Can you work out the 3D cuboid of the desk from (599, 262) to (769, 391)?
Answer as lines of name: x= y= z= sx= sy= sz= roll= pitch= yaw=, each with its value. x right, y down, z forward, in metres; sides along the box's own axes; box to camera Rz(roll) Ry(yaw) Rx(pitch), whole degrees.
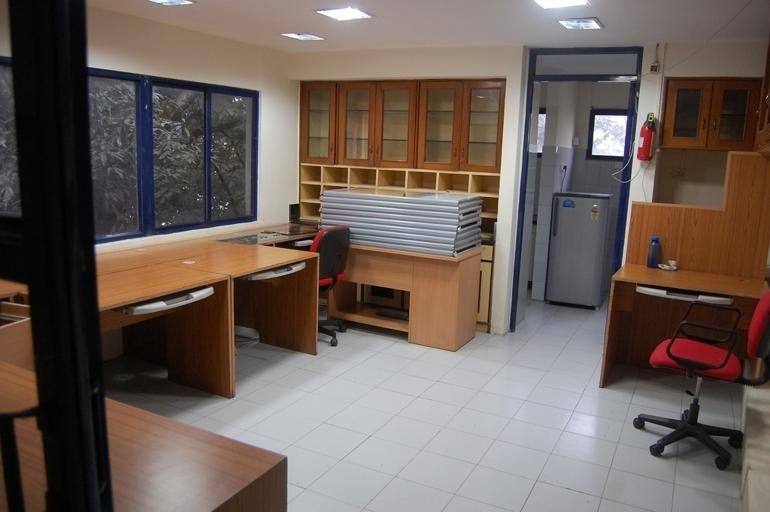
desk: x=2.420 y=0.556 z=4.191 sx=0.953 sy=0.883 sz=0.552 roll=6 pitch=12 yaw=28

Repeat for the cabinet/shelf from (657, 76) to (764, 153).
cabinet/shelf: x=2.958 y=-1.301 z=4.715 sx=0.870 sy=0.738 sz=0.372 roll=5 pitch=11 yaw=23

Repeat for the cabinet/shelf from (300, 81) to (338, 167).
cabinet/shelf: x=-0.808 y=-1.600 z=6.300 sx=0.534 sy=0.947 sz=0.136 roll=10 pitch=14 yaw=32

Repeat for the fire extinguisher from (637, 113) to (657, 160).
fire extinguisher: x=2.464 y=-1.116 z=4.927 sx=0.139 sy=0.453 sz=0.169 roll=13 pitch=16 yaw=40

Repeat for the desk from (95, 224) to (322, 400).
desk: x=-1.533 y=0.484 z=4.295 sx=1.206 sy=0.987 sz=1.833 roll=9 pitch=14 yaw=29
